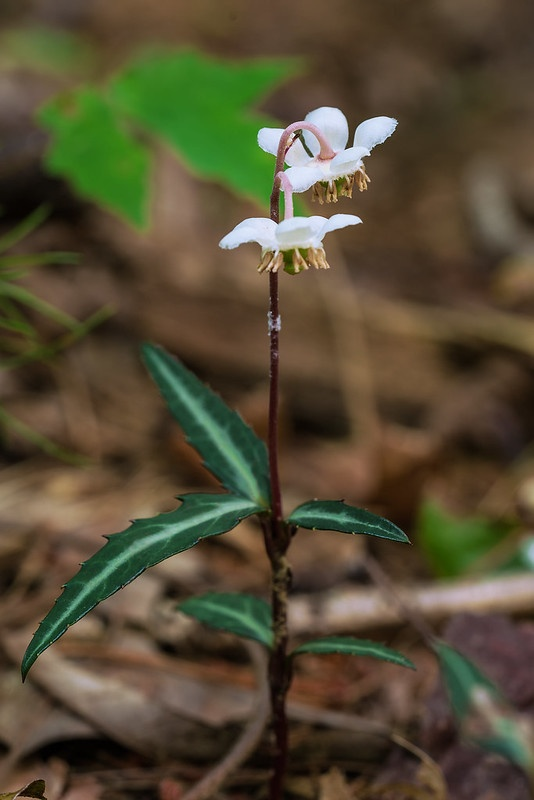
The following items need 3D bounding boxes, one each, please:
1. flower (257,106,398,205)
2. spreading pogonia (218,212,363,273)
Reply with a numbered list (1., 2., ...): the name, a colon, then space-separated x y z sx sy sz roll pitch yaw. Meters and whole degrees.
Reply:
1. flower: 0.158 -0.474 1.578 0.265 0.243 0.128 -13 76 34
2. spreading pogonia: 0.080 -0.298 1.504 0.282 0.102 0.289 8 13 30
